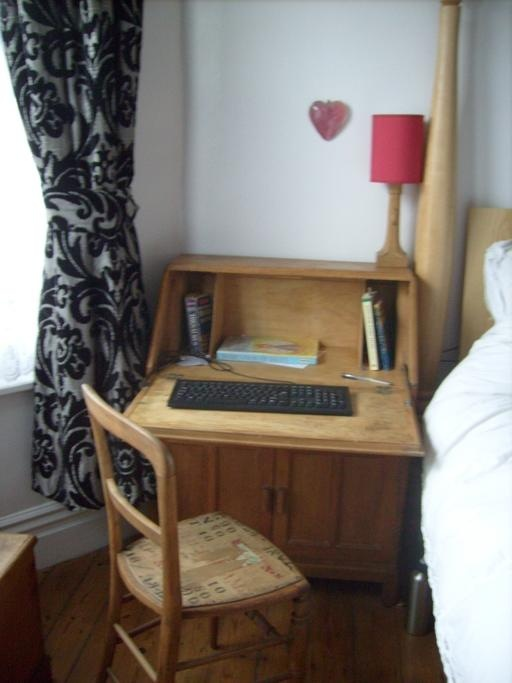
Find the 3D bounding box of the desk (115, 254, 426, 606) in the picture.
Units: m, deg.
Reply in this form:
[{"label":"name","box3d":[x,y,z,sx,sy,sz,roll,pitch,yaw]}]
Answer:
[{"label":"desk","box3d":[0.089,0.264,1.762,0.836,0.941,0.779,9,29,19]}]

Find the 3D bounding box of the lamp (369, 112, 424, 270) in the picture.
[{"label":"lamp","box3d":[0.429,-0.450,1.735,0.167,0.450,0.266,3,5,11]}]

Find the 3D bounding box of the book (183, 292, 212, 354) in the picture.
[{"label":"book","box3d":[-0.179,-0.059,1.808,0.068,0.212,0.134,3,18,7]}]
